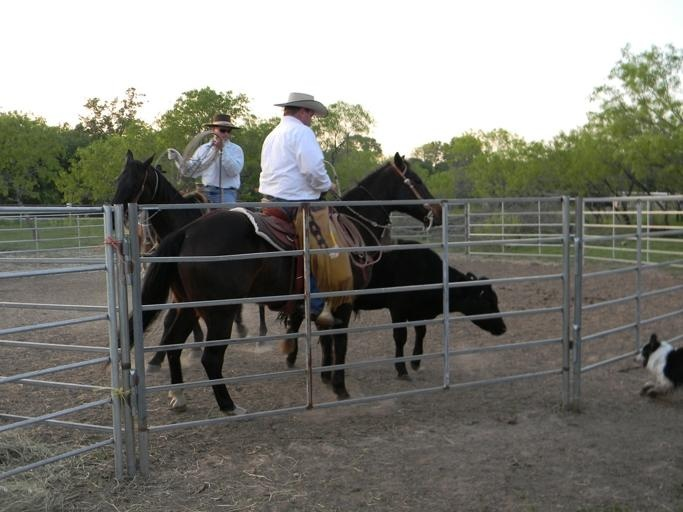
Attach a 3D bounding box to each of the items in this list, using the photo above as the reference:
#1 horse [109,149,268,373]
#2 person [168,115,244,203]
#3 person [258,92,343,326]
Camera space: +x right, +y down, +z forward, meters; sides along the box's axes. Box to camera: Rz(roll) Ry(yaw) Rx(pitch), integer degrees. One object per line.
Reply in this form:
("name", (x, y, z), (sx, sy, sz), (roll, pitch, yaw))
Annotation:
("horse", (-1.896, -0.062, 8.333), (0.609, 1.916, 2.570), (0, -2, 22))
("person", (-1.776, -1.008, 8.485), (1.010, 1.653, 0.649), (-5, 7, -42))
("person", (-0.372, -0.498, 6.503), (0.765, 2.242, 1.131), (-3, 9, -16))
